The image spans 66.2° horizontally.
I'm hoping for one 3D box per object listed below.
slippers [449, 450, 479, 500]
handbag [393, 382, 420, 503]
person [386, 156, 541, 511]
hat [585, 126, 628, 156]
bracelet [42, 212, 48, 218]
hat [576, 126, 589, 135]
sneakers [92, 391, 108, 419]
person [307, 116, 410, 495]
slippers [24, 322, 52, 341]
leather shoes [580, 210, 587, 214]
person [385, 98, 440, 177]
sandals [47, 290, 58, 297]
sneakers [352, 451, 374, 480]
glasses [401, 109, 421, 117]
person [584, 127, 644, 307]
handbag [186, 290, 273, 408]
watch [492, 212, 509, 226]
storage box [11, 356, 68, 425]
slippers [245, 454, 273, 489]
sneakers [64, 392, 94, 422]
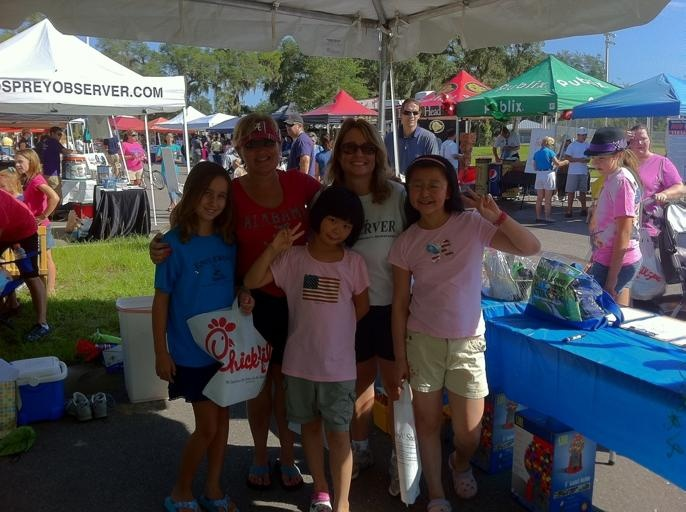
[{"bbox_3d":[0.796,1.467,3.454,0.130,0.112,0.293,-7,30,-6],"label":"slippers"},{"bbox_3d":[0.382,1.199,3.150,0.145,0.849,0.264,-1,9,1],"label":"handbag"},{"bbox_3d":[0.663,0.496,3.191,0.742,2.182,0.401,0,9,5],"label":"person"},{"bbox_3d":[2.086,-0.921,4.065,0.200,0.116,0.275,12,29,43],"label":"hat"},{"bbox_3d":[-3.945,-0.534,6.878,0.049,0.091,0.083,4,18,-10],"label":"bracelet"},{"bbox_3d":[5.777,-3.058,12.566,0.261,0.289,0.385,1,4,35],"label":"hat"},{"bbox_3d":[-2.038,1.243,4.338,0.083,0.108,0.241,-2,13,-18],"label":"sneakers"},{"bbox_3d":[0.269,0.419,3.470,0.836,2.546,0.604,3,21,23],"label":"person"},{"bbox_3d":[-3.397,0.842,5.777,0.098,0.133,0.290,3,4,8],"label":"slippers"},{"bbox_3d":[6.106,-1.097,13.198,0.120,0.133,0.131,-1,7,11],"label":"leather shoes"},{"bbox_3d":[0.750,-1.301,6.065,0.600,1.055,0.546,1,-4,12],"label":"person"},{"bbox_3d":[-4.058,0.523,7.205,0.088,0.095,0.157,-4,-15,-24],"label":"sandals"},{"bbox_3d":[0.120,1.448,3.610,0.205,0.145,0.072,-5,6,-43],"label":"sneakers"},{"bbox_3d":[0.791,-1.661,6.091,0.195,0.071,0.083,-4,10,-12],"label":"glasses"},{"bbox_3d":[2.175,-0.280,4.215,0.437,1.499,0.628,4,11,31],"label":"person"},{"bbox_3d":[-0.713,0.542,3.156,0.620,0.772,0.267,-5,4,-33],"label":"handbag"},{"bbox_3d":[0.902,-0.218,2.970,0.029,0.078,0.066,32,-18,-14],"label":"watch"},{"bbox_3d":[-2.411,1.073,4.362,0.499,0.522,0.404,-6,15,-20],"label":"storage box"},{"bbox_3d":[-0.579,1.478,3.558,0.188,0.155,0.548,1,0,-5],"label":"slippers"},{"bbox_3d":[-2.213,1.220,4.331,0.130,0.141,0.293,-8,17,-27],"label":"sneakers"}]
